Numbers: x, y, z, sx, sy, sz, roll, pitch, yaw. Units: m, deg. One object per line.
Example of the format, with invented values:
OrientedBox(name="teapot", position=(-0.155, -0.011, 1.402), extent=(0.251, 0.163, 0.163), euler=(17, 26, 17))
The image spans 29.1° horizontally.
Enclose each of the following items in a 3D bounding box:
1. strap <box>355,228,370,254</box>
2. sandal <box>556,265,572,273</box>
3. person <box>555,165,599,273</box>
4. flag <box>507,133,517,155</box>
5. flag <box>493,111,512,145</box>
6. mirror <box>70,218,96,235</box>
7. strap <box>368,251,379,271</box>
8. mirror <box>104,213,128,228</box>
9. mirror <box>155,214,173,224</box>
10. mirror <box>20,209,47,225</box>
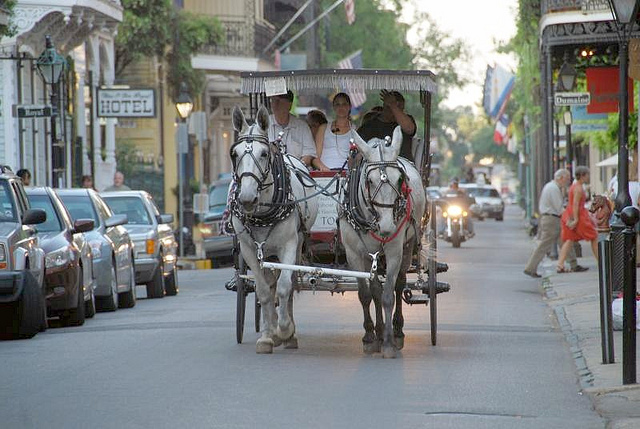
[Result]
OrientedBox(name="strap", position=(0.619, 0.352, 17.896), extent=(0.051, 0.316, 0.041), euler=(-16, -17, -39))
OrientedBox(name="sandal", position=(5.730, 1.295, 29.378), extent=(0.142, 0.178, 0.432), euler=(1, 4, 44))
OrientedBox(name="person", position=(5.983, 0.169, 28.850), extent=(0.865, 2.523, 1.099), euler=(0, 6, 11))
OrientedBox(name="flag", position=(9.062, -3.392, 58.569), extent=(0.228, 0.776, 0.876), euler=(-1, -1, -9))
OrientedBox(name="flag", position=(8.176, -3.889, 55.457), extent=(0.500, 1.443, 1.723), euler=(19, 38, 7))
OrientedBox(name="mirror", position=(-4.178, 0.230, 21.904), extent=(0.388, 0.232, 0.439), euler=(-2, 6, -7))
OrientedBox(name="strap", position=(0.780, 0.670, 17.900), extent=(0.153, 0.270, 0.337), euler=(-1, 6, 1))
OrientedBox(name="mirror", position=(-3.821, 0.112, 23.647), extent=(0.295, 0.140, 0.310), euler=(-2, 8, 30))
OrientedBox(name="mirror", position=(-3.431, 0.115, 27.631), extent=(0.353, 0.253, 0.784), euler=(-1, 6, 5))
OrientedBox(name="mirror", position=(-4.583, 0.041, 19.817), extent=(0.300, 0.123, 0.258), euler=(-4, 10, 13))
